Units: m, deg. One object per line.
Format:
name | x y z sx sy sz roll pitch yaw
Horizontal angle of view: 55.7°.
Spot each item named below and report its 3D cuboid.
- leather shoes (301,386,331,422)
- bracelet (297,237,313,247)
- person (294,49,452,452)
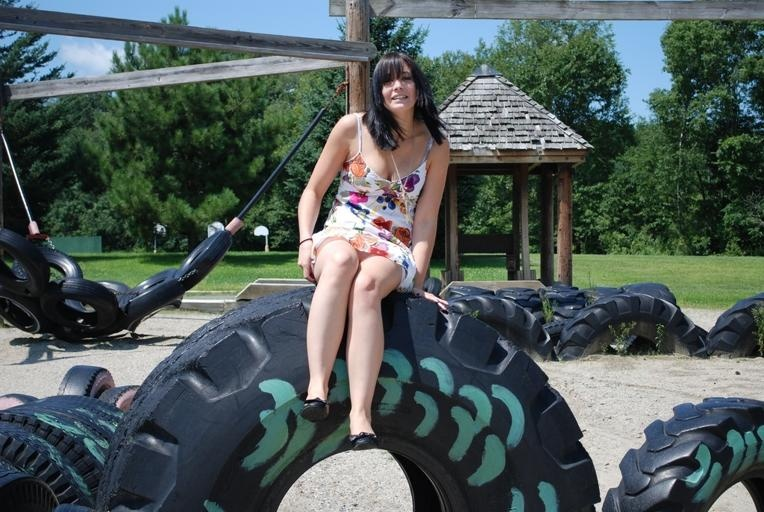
leather shoes | -0.369 0.843 4.066 0.157 0.090 0.056 39 22 -16
bracelet | -0.498 -0.095 4.731 0.047 0.058 0.132 0 4 -42
person | -0.069 -0.142 4.482 0.926 2.407 1.023 3 3 3
